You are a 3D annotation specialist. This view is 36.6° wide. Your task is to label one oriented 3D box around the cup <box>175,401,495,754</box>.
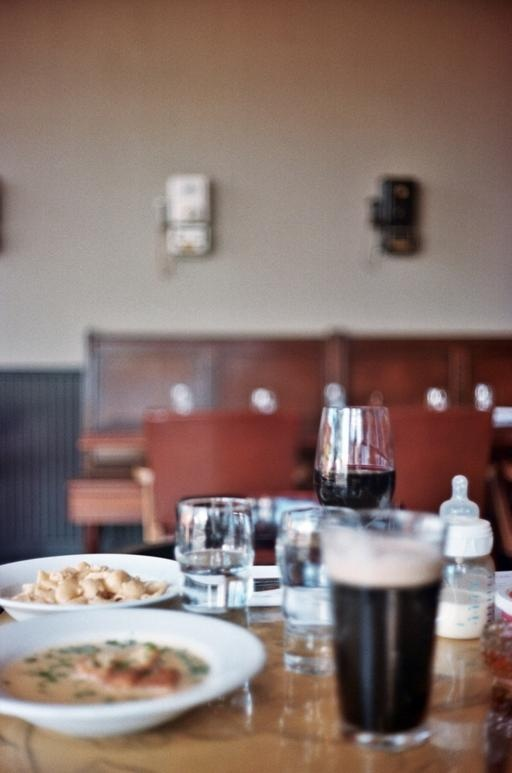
[{"bbox_3d":[0.026,0.126,0.431,0.110,0.168,0.118,-1,-7,0],"label":"cup"}]
